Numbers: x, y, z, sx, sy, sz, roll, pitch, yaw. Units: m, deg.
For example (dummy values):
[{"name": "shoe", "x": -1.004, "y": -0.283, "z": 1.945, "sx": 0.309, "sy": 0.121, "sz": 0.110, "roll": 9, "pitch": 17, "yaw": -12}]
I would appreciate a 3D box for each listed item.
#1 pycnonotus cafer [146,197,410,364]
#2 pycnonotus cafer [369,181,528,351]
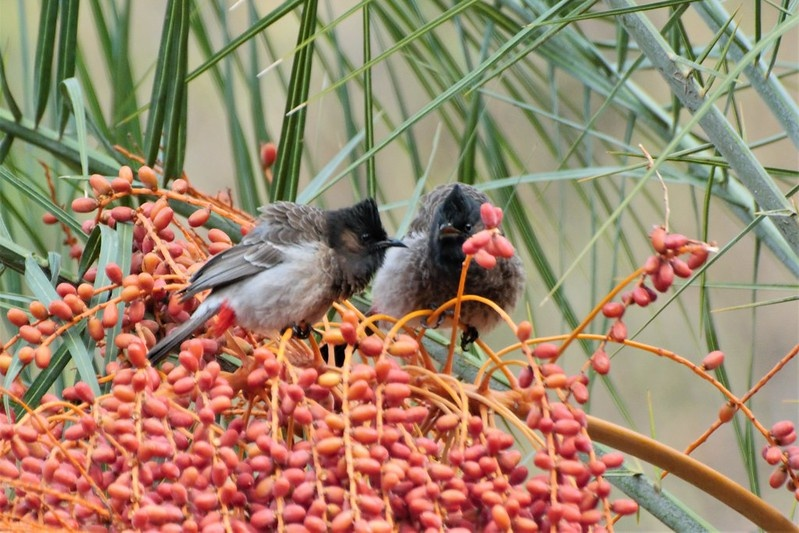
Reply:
[{"name": "pycnonotus cafer", "x": -0.470, "y": 0.050, "z": 3.607, "sx": 0.911, "sy": 0.523, "sz": 0.330, "roll": -4, "pitch": 0, "yaw": 12}, {"name": "pycnonotus cafer", "x": 0.243, "y": -0.021, "z": 4.599, "sx": 0.673, "sy": 0.798, "sz": 0.956, "roll": 1, "pitch": 10, "yaw": 0}]
